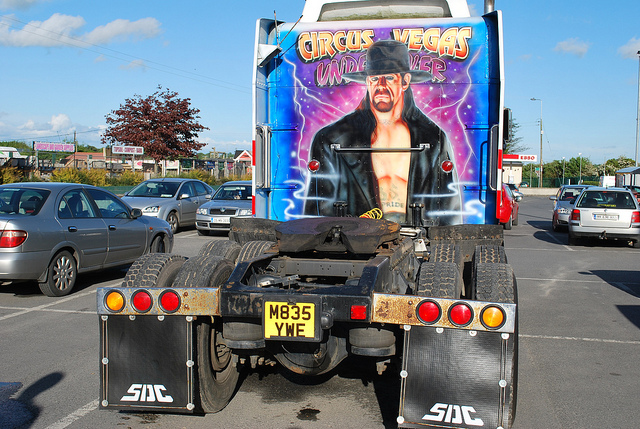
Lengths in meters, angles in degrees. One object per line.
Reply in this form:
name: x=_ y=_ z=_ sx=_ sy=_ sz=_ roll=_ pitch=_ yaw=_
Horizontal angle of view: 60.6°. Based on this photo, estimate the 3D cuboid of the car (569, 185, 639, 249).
car: x=8.710 y=-0.007 z=16.815 sx=1.337 sy=1.238 sz=2.424 roll=0 pitch=8 yaw=16

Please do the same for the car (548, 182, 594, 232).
car: x=9.873 y=-0.398 z=21.993 sx=1.367 sy=1.264 sz=2.805 roll=-2 pitch=11 yaw=15

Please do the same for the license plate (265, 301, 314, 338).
license plate: x=-0.256 y=0.979 z=5.051 sx=0.303 sy=0.238 sz=0.044 roll=1 pitch=-4 yaw=2

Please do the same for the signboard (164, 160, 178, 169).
signboard: x=-19.847 y=-6.671 z=74.303 sx=1.319 sy=1.181 sz=3.748 roll=-2 pitch=8 yaw=-17

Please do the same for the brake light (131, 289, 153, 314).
brake light: x=-1.700 y=0.838 z=5.286 sx=0.211 sy=0.221 sz=0.046 roll=3 pitch=7 yaw=16

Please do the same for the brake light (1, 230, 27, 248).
brake light: x=-5.022 y=0.398 z=9.042 sx=0.217 sy=0.213 sz=0.315 roll=-2 pitch=3 yaw=1

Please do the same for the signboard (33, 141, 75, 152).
signboard: x=-26.994 y=-6.827 z=56.482 sx=2.589 sy=1.122 sz=14.270 roll=-2 pitch=8 yaw=-21

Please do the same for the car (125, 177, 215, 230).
car: x=-5.321 y=-0.336 z=19.746 sx=1.704 sy=1.395 sz=3.584 roll=-1 pitch=-2 yaw=21

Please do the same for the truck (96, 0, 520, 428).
truck: x=0.667 y=-0.502 z=7.908 sx=3.997 sy=4.717 sz=6.621 roll=0 pitch=7 yaw=13

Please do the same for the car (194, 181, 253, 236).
car: x=-2.776 y=-0.254 z=19.299 sx=1.718 sy=1.562 sz=3.273 roll=0 pitch=0 yaw=16
